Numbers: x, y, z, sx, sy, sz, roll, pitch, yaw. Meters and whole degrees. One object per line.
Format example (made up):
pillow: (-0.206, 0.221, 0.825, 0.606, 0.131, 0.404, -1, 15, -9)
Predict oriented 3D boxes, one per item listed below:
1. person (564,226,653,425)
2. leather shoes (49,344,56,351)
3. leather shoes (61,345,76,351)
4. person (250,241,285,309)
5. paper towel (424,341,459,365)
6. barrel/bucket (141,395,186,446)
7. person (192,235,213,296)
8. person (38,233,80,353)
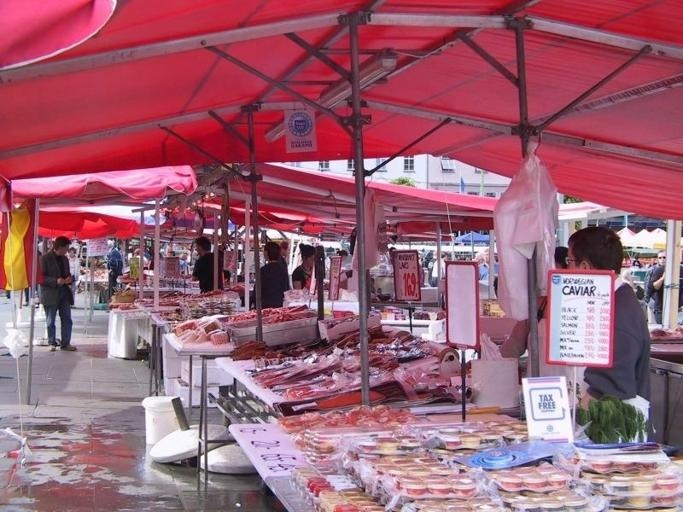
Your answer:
person: (1.320, 0.277, 3.423, 0.364, 0.936, 0.623, -3, -6, 27)
leather shoes: (-5.322, 1.733, 12.535, 0.076, 0.080, 0.216, 1, -10, -24)
leather shoes: (-5.039, 1.726, 12.558, 0.303, 0.116, 0.097, 0, 0, -6)
person: (-0.911, 0.268, 9.198, 0.366, 0.885, 0.834, 0, -5, -5)
paper towel: (0.679, 0.666, 4.680, 0.219, 0.117, 0.778, -1, -5, 6)
barrel/bucket: (-1.819, 1.666, 7.021, 0.454, 0.434, 0.435, -3, 8, 0)
person: (-2.172, 0.120, 10.696, 0.311, 0.978, 1.346, 1, -5, -12)
person: (-5.132, 0.714, 12.316, 0.714, 2.067, 0.752, 5, 4, 43)
